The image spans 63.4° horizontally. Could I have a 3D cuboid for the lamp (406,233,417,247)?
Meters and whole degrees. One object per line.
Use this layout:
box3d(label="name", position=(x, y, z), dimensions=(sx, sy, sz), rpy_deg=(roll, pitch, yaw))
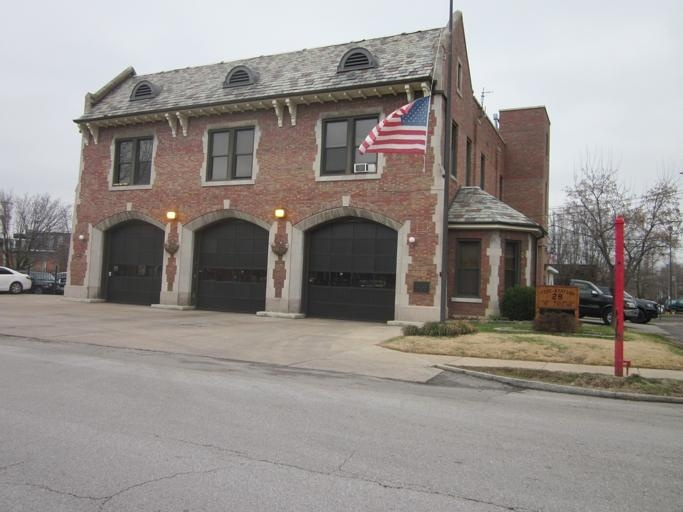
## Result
box3d(label="lamp", position=(2.550, -0.545, 19.871), dimensions=(0.104, 0.428, 0.436), rpy_deg=(2, 4, -43))

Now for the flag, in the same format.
box3d(label="flag", position=(1.843, -4.330, 18.367), dimensions=(2.614, 2.621, 0.740), rpy_deg=(7, 0, 7))
